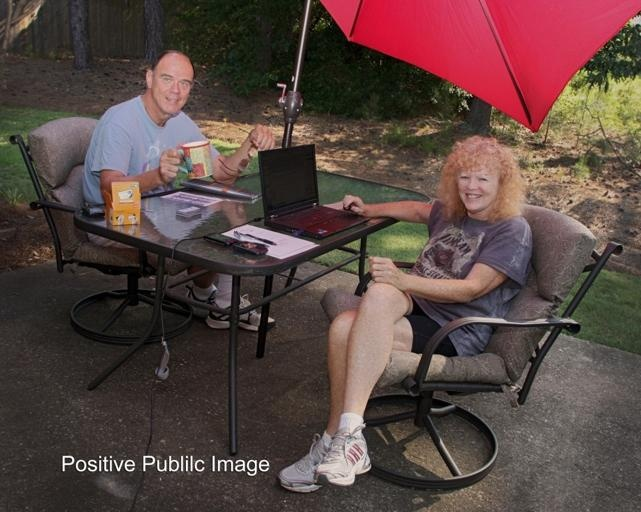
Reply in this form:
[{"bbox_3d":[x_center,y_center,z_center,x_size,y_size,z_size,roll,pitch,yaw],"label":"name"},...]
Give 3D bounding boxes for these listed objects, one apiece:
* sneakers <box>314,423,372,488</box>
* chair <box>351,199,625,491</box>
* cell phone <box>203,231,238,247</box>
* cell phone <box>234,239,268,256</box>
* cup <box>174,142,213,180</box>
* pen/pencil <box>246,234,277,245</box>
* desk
[{"bbox_3d":[0.102,0.808,2.169,0.194,0.210,0.214,12,26,10],"label":"sneakers"},{"bbox_3d":[0.905,0.463,2.750,1.412,1.044,1.040,-5,-4,2],"label":"chair"},{"bbox_3d":[-0.444,-0.070,2.419,0.166,0.025,0.080,24,30,36],"label":"cell phone"},{"bbox_3d":[-0.315,-0.042,2.346,0.118,0.037,0.066,17,36,19],"label":"cell phone"},{"bbox_3d":[-0.610,-0.478,2.698,0.208,0.148,0.153,-5,22,-6],"label":"cup"},{"bbox_3d":[-0.274,-0.073,2.448,0.132,0.017,0.016,17,62,8],"label":"pen/pencil"},{"bbox_3d":[-0.321,0.134,3.235,1.294,0.845,2.023,17,21,31],"label":"desk"}]
